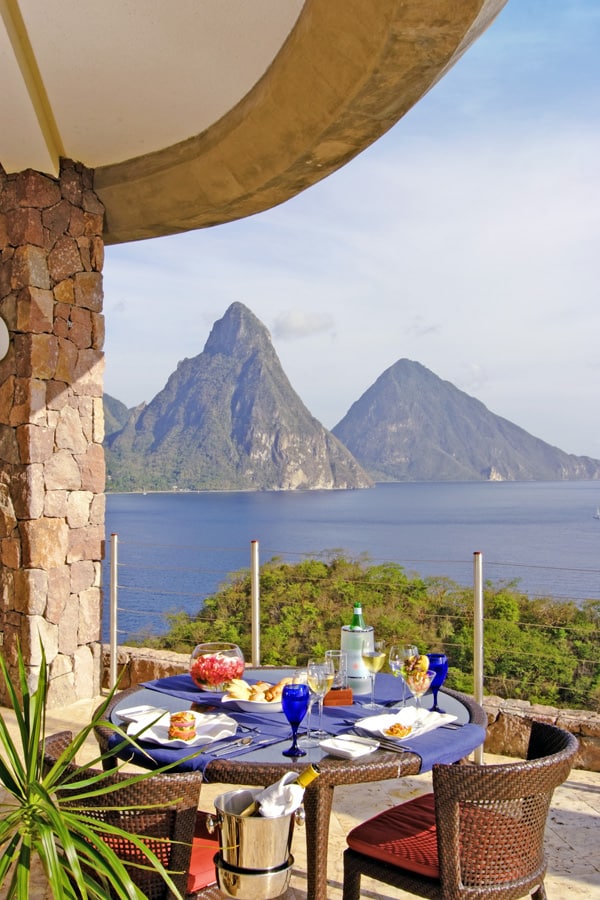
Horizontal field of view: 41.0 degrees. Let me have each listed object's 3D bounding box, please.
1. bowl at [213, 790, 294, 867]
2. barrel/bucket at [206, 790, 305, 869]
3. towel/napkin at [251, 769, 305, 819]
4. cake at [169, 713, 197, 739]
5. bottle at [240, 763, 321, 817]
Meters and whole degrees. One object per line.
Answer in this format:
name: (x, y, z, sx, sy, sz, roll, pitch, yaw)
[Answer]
bowl: (-0.090, 0.731, 1.547, 0.145, 0.100, 0.148, -5, 3, 0)
barrel/bucket: (-0.083, 0.739, 1.556, 0.156, 0.099, 0.152, 5, -3, 0)
towel/napkin: (-0.033, 0.650, 1.554, 0.103, 0.136, 0.053, 4, 8, -16)
cake: (-0.253, 0.582, 1.713, 0.053, 0.050, 0.053, -1, 0, -21)
bottle: (-0.040, 0.643, 1.522, 0.055, 0.061, 0.210, 38, -62, -25)
